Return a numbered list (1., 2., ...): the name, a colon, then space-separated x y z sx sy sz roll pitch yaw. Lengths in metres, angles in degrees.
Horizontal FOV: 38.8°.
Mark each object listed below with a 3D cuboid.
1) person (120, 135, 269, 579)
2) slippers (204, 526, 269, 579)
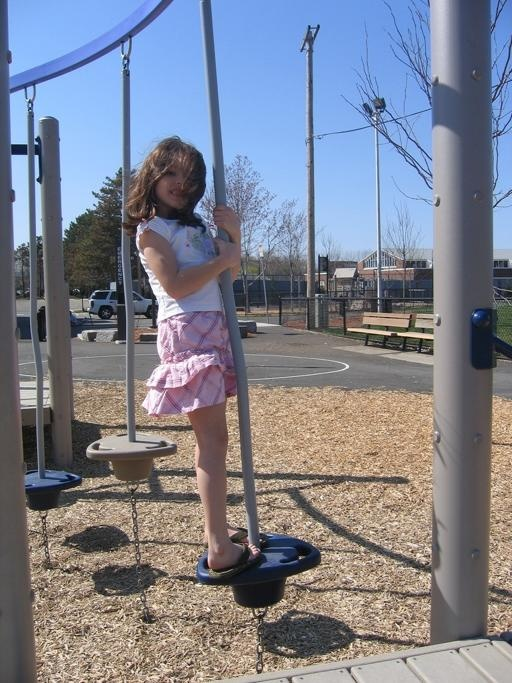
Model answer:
1. person: -0.169 -0.001 1.996 0.312 1.161 0.614 -2 4 -14
2. slippers: -0.040 0.523 1.810 0.130 0.039 0.073 -19 13 -26
